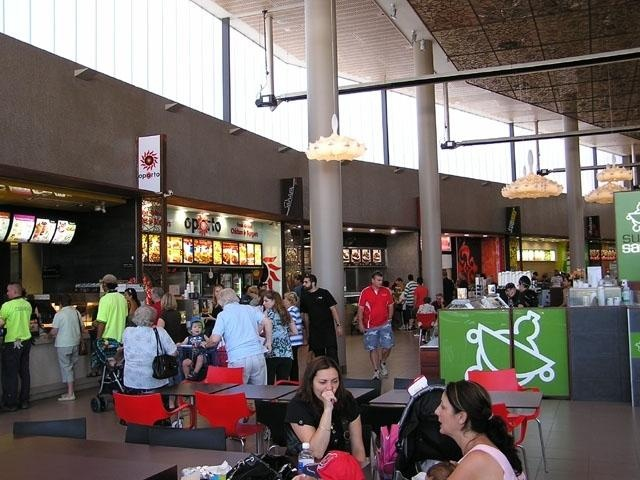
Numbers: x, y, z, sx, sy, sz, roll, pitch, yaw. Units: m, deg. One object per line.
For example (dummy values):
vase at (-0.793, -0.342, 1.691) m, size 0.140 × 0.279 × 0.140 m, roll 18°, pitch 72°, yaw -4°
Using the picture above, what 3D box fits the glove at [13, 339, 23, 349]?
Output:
glove at (-4.326, 1.497, 7.691) m, size 0.032 × 0.128 × 0.111 m, roll 12°, pitch 9°, yaw 35°

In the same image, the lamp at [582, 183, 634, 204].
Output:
lamp at (8.743, -1.493, 16.522) m, size 0.900 × 0.660 × 1.879 m, roll 11°, pitch 9°, yaw 25°

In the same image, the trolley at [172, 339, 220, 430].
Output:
trolley at (-1.809, 1.996, 7.472) m, size 0.596 × 0.972 × 0.604 m, roll -17°, pitch -1°, yaw -18°

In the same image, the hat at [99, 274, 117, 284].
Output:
hat at (-3.484, 0.639, 8.758) m, size 0.250 × 0.134 × 0.330 m, roll 1°, pitch 2°, yaw -43°

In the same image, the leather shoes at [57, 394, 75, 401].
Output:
leather shoes at (-3.921, 2.443, 8.284) m, size 0.224 × 0.086 × 0.126 m, roll 5°, pitch -6°, yaw -5°

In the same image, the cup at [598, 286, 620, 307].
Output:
cup at (4.076, 0.775, 7.618) m, size 0.329 × 0.334 × 0.249 m, roll -2°, pitch -5°, yaw 29°

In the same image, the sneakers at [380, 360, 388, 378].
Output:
sneakers at (1.129, 2.274, 9.465) m, size 0.107 × 0.125 × 0.287 m, roll -1°, pitch -1°, yaw 1°
